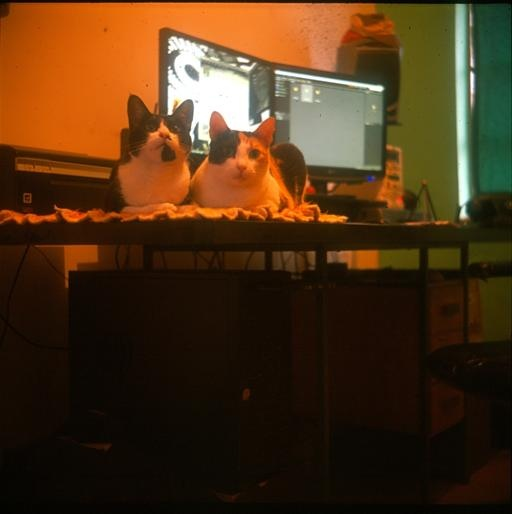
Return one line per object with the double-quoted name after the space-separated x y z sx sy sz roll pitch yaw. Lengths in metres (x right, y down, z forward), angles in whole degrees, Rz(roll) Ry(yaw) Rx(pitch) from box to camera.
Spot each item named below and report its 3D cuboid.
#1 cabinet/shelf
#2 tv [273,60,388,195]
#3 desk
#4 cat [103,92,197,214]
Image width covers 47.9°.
0.301 0.171 1.432 0.329 0.377 0.349 -1 -1 32 "cabinet/shelf"
0.223 -0.383 1.736 0.382 0.357 0.050 0 6 -32 "tv"
0.023 0.223 1.314 1.123 0.686 0.568 -3 9 -28 "desk"
-0.191 -0.201 1.117 0.182 0.217 0.156 -3 8 -27 "cat"
